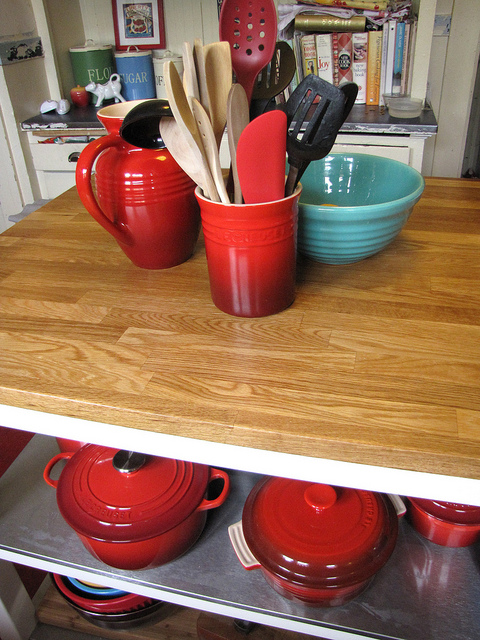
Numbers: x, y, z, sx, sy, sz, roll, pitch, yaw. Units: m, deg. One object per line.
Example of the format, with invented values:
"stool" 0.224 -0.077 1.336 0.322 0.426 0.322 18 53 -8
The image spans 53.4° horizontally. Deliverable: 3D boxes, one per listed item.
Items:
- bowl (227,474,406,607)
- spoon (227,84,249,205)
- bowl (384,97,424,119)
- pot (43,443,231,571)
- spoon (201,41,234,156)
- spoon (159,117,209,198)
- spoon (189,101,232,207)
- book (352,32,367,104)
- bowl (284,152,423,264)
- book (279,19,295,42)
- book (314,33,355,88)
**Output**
"bowl" 0.075 0.324 0.703 0.254 0.144 0.203 -3 47 -1
"spoon" -0.002 -0.159 0.449 0.018 0.109 0.013 4 24 14
"bowl" 0.645 -0.831 1.877 0.140 0.066 0.173 5 30 13
"pot" -0.144 0.239 0.698 0.254 0.118 0.200 3 31 1
"spoon" -0.023 -0.228 0.470 0.026 0.137 0.022 -3 10 -16
"spoon" -0.065 -0.193 0.536 0.030 0.119 0.019 -30 -17 27
"spoon" -0.020 -0.152 0.441 0.017 0.130 0.019 -20 49 -5
"book" 0.503 -1.058 2.023 0.054 0.267 0.074 -27 38 -34
"bowl" 0.150 -0.168 0.660 0.219 0.108 0.205 -2 38 2
"book" 0.197 -1.205 1.998 0.059 0.078 0.078 0 30 4
"book" 0.411 -1.108 2.036 0.157 0.190 0.046 3 31 10
